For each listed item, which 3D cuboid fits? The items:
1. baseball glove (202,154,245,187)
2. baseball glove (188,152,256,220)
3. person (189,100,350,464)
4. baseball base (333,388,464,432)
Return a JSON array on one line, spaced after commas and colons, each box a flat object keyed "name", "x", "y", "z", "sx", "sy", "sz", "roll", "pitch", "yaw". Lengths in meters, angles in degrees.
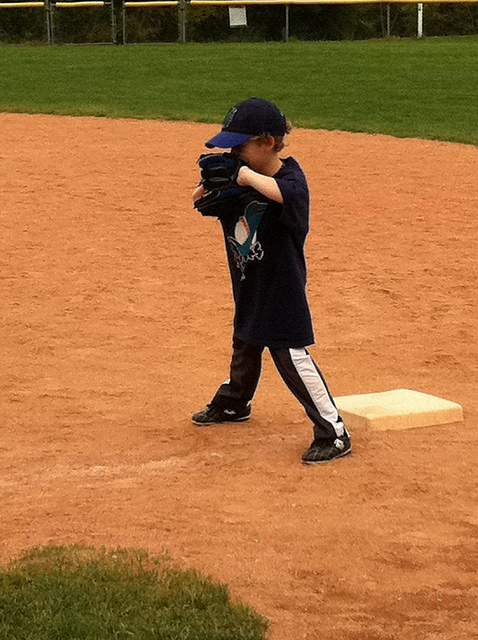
[{"name": "baseball glove", "x": -0.072, "y": -0.676, "z": 4.329, "sx": 0.188, "sy": 0.144, "sz": 0.160, "roll": 0, "pitch": 9, "yaw": -2}, {"name": "baseball glove", "x": -0.073, "y": -0.628, "z": 4.493, "sx": 0.306, "sy": 0.311, "sz": 0.424, "roll": 1, "pitch": 9, "yaw": 5}, {"name": "person", "x": 0.127, "y": -0.152, "z": 4.559, "sx": 0.671, "sy": 1.759, "sz": 0.508, "roll": 6, "pitch": 12, "yaw": 29}, {"name": "baseball base", "x": 0.860, "y": 0.526, "z": 5.402, "sx": 0.695, "sy": 0.093, "sz": 0.543, "roll": -5, "pitch": 10, "yaw": -32}]
